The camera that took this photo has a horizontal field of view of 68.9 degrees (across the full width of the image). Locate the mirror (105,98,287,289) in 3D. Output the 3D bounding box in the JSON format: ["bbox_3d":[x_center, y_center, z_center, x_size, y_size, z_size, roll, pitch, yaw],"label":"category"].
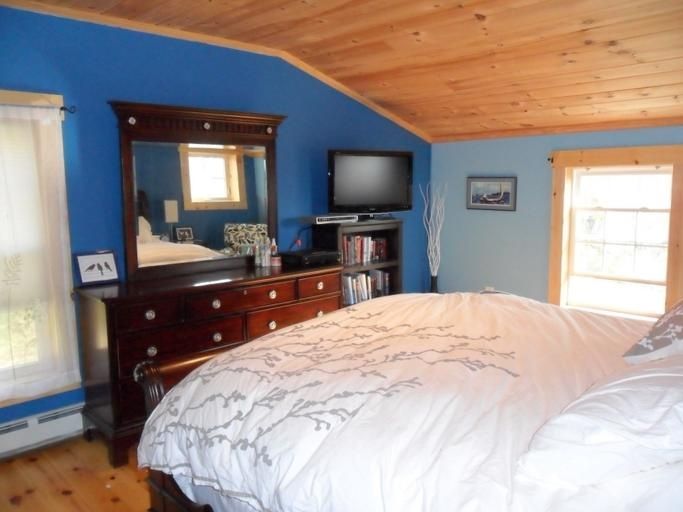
[{"bbox_3d":[-1.034,-0.457,3.817,1.414,1.276,0.182,-9,16,-44],"label":"mirror"}]

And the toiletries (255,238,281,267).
[{"bbox_3d":[-0.579,-0.024,4.025,0.229,0.231,0.181,0,5,10],"label":"toiletries"}]

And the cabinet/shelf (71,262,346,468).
[{"bbox_3d":[-0.867,0.662,3.813,2.007,0.989,0.653,-8,7,-44],"label":"cabinet/shelf"}]

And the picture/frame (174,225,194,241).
[{"bbox_3d":[-1.170,-0.175,3.681,0.013,0.099,0.126,-4,0,42],"label":"picture/frame"}]

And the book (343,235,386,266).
[{"bbox_3d":[0.221,-0.075,4.691,0.165,0.265,0.607,5,10,37],"label":"book"}]

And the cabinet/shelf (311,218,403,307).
[{"bbox_3d":[0.115,0.053,4.357,0.276,0.706,0.794,3,5,40],"label":"cabinet/shelf"}]

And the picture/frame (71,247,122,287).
[{"bbox_3d":[-1.649,0.079,3.325,0.250,0.223,0.034,-9,-5,-39],"label":"picture/frame"}]
